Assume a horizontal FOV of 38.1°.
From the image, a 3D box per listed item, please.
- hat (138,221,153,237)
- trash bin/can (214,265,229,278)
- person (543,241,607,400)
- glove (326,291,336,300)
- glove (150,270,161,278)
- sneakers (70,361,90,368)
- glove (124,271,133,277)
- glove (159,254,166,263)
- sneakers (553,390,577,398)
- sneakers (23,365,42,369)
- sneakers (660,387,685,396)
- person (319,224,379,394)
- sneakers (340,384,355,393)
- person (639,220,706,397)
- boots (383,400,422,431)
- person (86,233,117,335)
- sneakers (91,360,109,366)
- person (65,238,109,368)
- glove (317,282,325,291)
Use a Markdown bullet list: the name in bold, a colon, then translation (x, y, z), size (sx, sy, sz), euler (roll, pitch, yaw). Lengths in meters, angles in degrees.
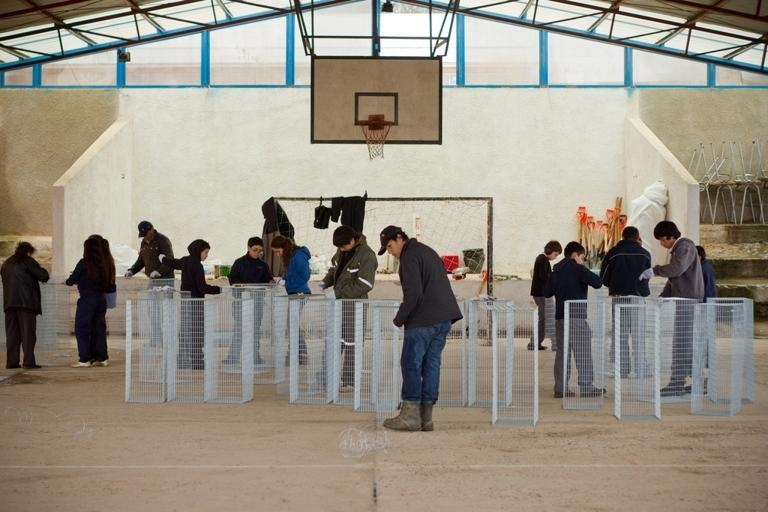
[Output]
- **hat**: translation (-4.367, -0.492, 20.367), size (0.244, 0.208, 0.341), euler (-5, 10, 5)
- **trash bin/can**: translation (-3.405, 0.336, 23.196), size (0.229, 0.223, 0.129), euler (1, 5, -1)
- **person**: translation (2.930, 0.947, 16.847), size (0.769, 2.399, 0.983), euler (1, -5, -3)
- **glove**: translation (-0.842, 0.600, 17.229), size (0.109, 0.038, 0.135), euler (8, 9, -44)
- **glove**: translation (-4.169, 0.330, 20.191), size (0.131, 0.097, 0.132), euler (-4, 7, -29)
- **sneakers**: translation (-5.103, 1.802, 18.609), size (0.284, 0.125, 0.112), euler (1, -3, 6)
- **glove**: translation (-4.686, 0.307, 20.368), size (0.157, 0.082, 0.221), euler (1, -25, -4)
- **glove**: translation (-3.948, 0.040, 19.734), size (0.120, 0.062, 0.170), euler (4, -17, -11)
- **sneakers**: translation (2.748, 2.101, 16.914), size (0.263, 0.126, 0.534), euler (1, -4, -3)
- **sneakers**: translation (-5.858, 1.847, 18.523), size (0.241, 0.097, 0.083), euler (0, -1, -10)
- **sneakers**: translation (4.377, 2.056, 16.891), size (0.214, 0.080, 0.215), euler (0, 0, -5)
- **person**: translation (-0.576, 0.789, 17.094), size (0.844, 2.475, 1.464), euler (3, -5, -29)
- **sneakers**: translation (-0.581, 2.021, 17.051), size (0.184, 0.122, 0.138), euler (0, -4, -2)
- **person**: translation (4.462, 0.779, 17.036), size (0.859, 2.701, 1.045), euler (-1, -5, 15)
- **boots**: translation (0.353, 2.313, 15.997), size (0.645, 0.492, 0.265), euler (5, -2, 11)
- **person**: translation (-4.706, 0.277, 18.885), size (0.440, 1.503, 0.475), euler (-13, 43, -21)
- **sneakers**: translation (-4.788, 1.801, 18.727), size (0.250, 0.110, 0.091), euler (3, -9, -5)
- **person**: translation (-4.921, 0.748, 18.589), size (0.702, 2.168, 0.544), euler (2, -5, -17)
- **glove**: translation (-0.999, 0.481, 17.743), size (0.111, 0.179, 0.108), euler (1, -14, -8)
